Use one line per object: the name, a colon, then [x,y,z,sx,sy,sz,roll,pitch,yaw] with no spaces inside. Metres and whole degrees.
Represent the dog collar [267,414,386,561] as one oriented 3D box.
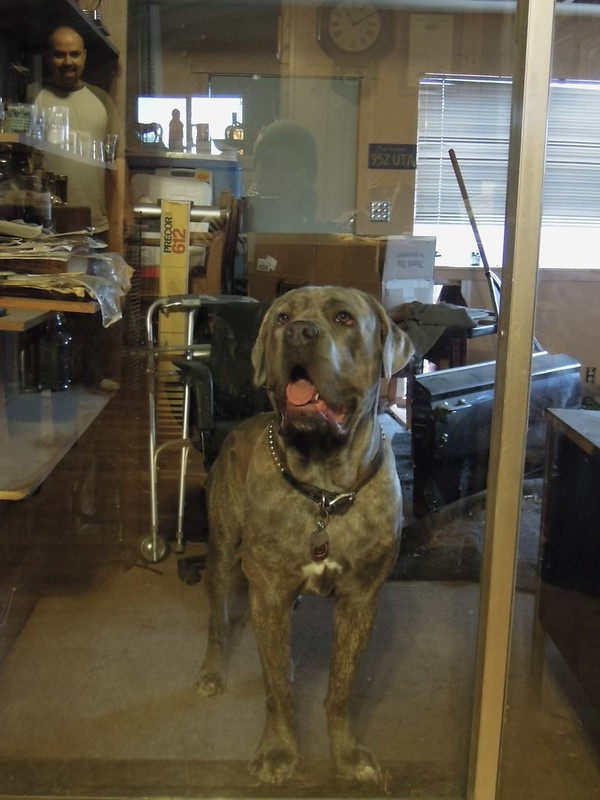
dog collar: [0.045,0.154,1.522,0.234,0.068,0.392,3,46,-4]
